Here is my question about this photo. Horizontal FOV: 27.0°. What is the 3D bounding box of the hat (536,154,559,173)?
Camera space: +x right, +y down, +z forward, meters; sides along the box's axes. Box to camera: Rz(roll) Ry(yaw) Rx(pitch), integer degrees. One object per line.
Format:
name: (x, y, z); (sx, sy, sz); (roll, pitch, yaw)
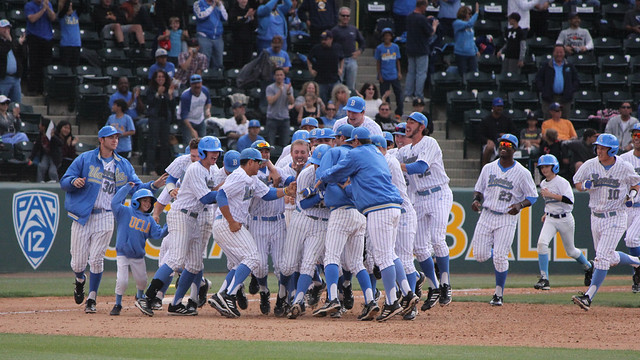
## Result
hat: (6.298, -0.467, 36.504); (0.557, 0.428, 0.489); (-5, 4, -28)

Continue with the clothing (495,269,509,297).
clothing: (4.729, 2.688, 34.815); (0.255, 0.685, 0.446); (1, 0, 8)

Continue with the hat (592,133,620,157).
hat: (7.591, -0.960, 35.086); (0.695, 0.587, 0.592); (1, 17, -2)

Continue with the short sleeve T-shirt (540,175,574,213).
short sleeve T-shirt: (6.580, 0.380, 36.778); (0.693, 1.085, 1.240); (-8, 1, -28)

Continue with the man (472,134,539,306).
man: (4.776, 1.032, 34.881); (1.561, 4.396, 0.690); (1, 0, 7)

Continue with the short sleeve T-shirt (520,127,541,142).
short sleeve T-shirt: (6.323, -1.344, 39.860); (0.606, 0.570, 0.337); (-3, -11, 23)

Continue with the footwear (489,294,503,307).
footwear: (4.606, 3.112, 34.757); (0.350, 0.285, 0.430); (1, 0, 11)

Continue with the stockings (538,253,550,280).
stockings: (6.168, 2.302, 36.435); (0.293, 1.068, 0.281); (-6, 38, 11)

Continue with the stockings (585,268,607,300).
stockings: (7.074, 2.667, 34.202); (0.699, 0.774, 0.290); (1, 0, -40)

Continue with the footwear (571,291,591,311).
footwear: (6.749, 3.105, 34.279); (0.481, 0.342, 0.170); (35, -30, 4)

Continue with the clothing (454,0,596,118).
clothing: (6.605, -3.663, 41.386); (6.077, 2.898, 3.022); (7, 9, 24)

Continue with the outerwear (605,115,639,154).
outerwear: (8.572, -1.267, 37.630); (1.142, 1.069, 0.464); (6, -3, 9)

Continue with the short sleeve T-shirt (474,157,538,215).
short sleeve T-shirt: (4.901, 0.164, 35.088); (1.835, 1.402, 0.819); (7, 5, 29)
